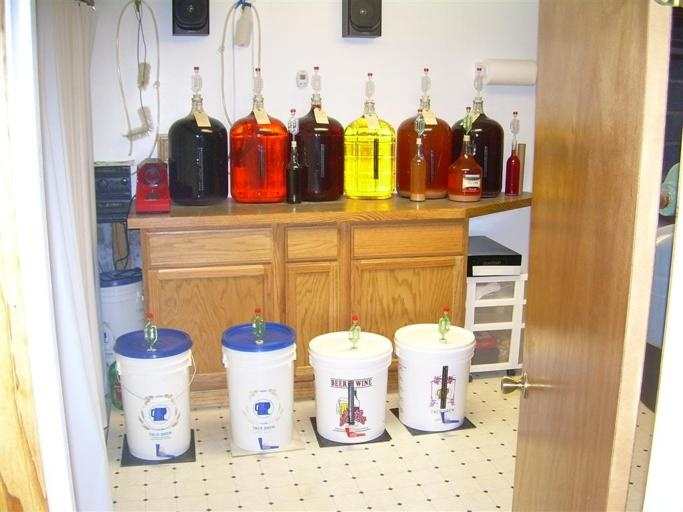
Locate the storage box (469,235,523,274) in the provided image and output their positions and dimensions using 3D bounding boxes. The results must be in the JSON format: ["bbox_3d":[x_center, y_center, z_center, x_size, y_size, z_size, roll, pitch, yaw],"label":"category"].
[{"bbox_3d":[0.791,0.006,3.079,0.254,0.118,0.442,0,12,13],"label":"storage box"}]

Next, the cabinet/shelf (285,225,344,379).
[{"bbox_3d":[-0.132,0.170,2.775,0.289,0.717,0.279,1,22,12],"label":"cabinet/shelf"}]

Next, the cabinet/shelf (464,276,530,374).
[{"bbox_3d":[0.784,0.349,3.001,0.344,0.534,0.090,-4,13,-6],"label":"cabinet/shelf"}]

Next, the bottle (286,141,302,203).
[{"bbox_3d":[-0.227,-0.400,2.773,0.077,0.291,0.145,-4,13,-4],"label":"bottle"}]

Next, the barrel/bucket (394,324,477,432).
[{"bbox_3d":[0.321,0.494,2.649,0.407,0.439,0.412,0,17,0],"label":"barrel/bucket"}]

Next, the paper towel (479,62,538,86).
[{"bbox_3d":[0.921,-1.023,3.264,0.331,0.135,0.072,-7,13,-18],"label":"paper towel"}]

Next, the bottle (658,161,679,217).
[{"bbox_3d":[0.419,-0.083,0.754,0.019,0.070,0.041,4,14,27],"label":"bottle"}]

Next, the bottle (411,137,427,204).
[{"bbox_3d":[0.373,-0.433,2.905,0.079,0.313,0.168,-1,13,8],"label":"bottle"}]

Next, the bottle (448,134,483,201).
[{"bbox_3d":[0.610,-0.441,2.926,0.163,0.326,0.205,0,13,13],"label":"bottle"}]

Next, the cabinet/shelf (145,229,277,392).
[{"bbox_3d":[-0.611,0.140,2.747,0.557,0.750,0.409,1,24,-3],"label":"cabinet/shelf"}]

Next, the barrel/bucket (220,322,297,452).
[{"bbox_3d":[-0.324,0.513,2.396,0.291,0.503,0.233,-5,13,-11],"label":"barrel/bucket"}]

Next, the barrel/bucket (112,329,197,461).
[{"bbox_3d":[-0.730,0.518,2.331,0.286,0.524,0.244,-7,13,-17],"label":"barrel/bucket"}]

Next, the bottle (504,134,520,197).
[{"bbox_3d":[0.927,-0.455,3.188,0.080,0.241,0.128,1,13,17],"label":"bottle"}]

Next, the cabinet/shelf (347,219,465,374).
[{"bbox_3d":[0.306,0.029,2.977,0.594,0.921,0.567,-8,40,-5],"label":"cabinet/shelf"}]
